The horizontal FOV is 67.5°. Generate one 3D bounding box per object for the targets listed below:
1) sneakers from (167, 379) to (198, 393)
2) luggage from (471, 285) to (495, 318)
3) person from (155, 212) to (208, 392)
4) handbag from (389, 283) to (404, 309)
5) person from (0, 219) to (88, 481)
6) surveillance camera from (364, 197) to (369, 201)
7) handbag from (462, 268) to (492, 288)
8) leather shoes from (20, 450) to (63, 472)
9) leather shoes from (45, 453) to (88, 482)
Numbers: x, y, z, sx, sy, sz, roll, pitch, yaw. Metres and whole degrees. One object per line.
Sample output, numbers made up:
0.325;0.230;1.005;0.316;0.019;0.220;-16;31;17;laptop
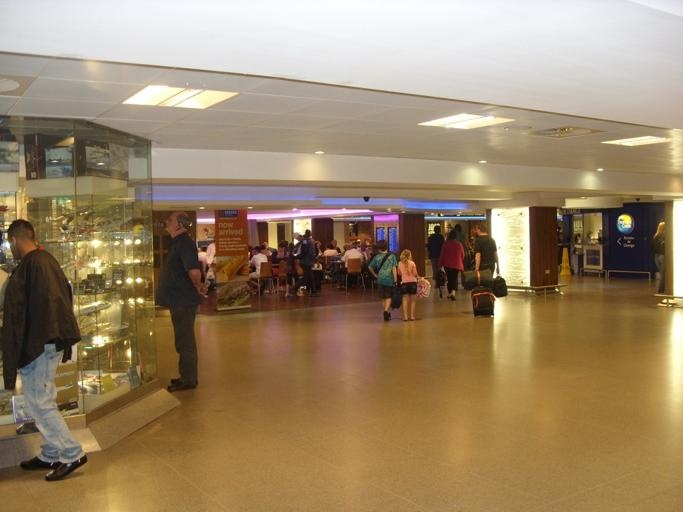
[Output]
-2.145;1.741;6.898;0.405;0.164;0.145;5;-1;-25;sneakers
3.204;1.017;11.753;0.505;0.652;0.677;1;-11;1;luggage
-2.142;0.583;6.876;0.610;2.369;0.510;-4;4;-15;person
1.275;0.910;11.740;0.264;0.569;0.443;-2;4;5;handbag
-2.634;0.805;4.519;0.582;2.272;0.585;-5;5;-27;person
0.765;-1.772;15.667;0.124;0.084;0.123;-1;5;13;surveillance camera
3.164;0.520;11.929;0.538;0.335;0.435;1;13;0;handbag
-2.704;1.857;4.586;0.435;0.165;0.166;5;-2;0;leather shoes
-2.412;1.859;4.523;0.352;0.136;0.128;-22;10;-39;leather shoes
